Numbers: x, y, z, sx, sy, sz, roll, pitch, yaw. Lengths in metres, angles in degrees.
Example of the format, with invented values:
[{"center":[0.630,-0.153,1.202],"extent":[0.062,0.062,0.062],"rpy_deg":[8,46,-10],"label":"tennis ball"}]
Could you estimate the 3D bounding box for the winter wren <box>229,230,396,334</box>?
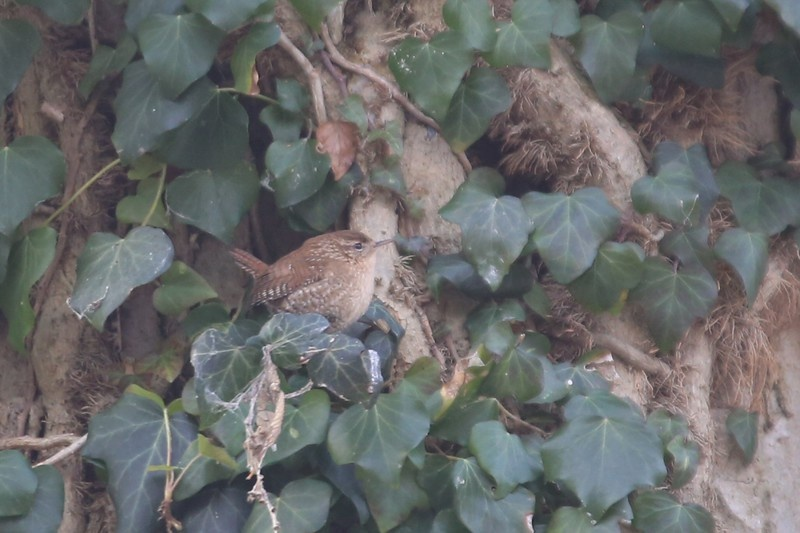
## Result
[{"center":[-0.432,0.095,6.961],"extent":[0.778,0.594,0.429],"rpy_deg":[6,0,14],"label":"winter wren"}]
